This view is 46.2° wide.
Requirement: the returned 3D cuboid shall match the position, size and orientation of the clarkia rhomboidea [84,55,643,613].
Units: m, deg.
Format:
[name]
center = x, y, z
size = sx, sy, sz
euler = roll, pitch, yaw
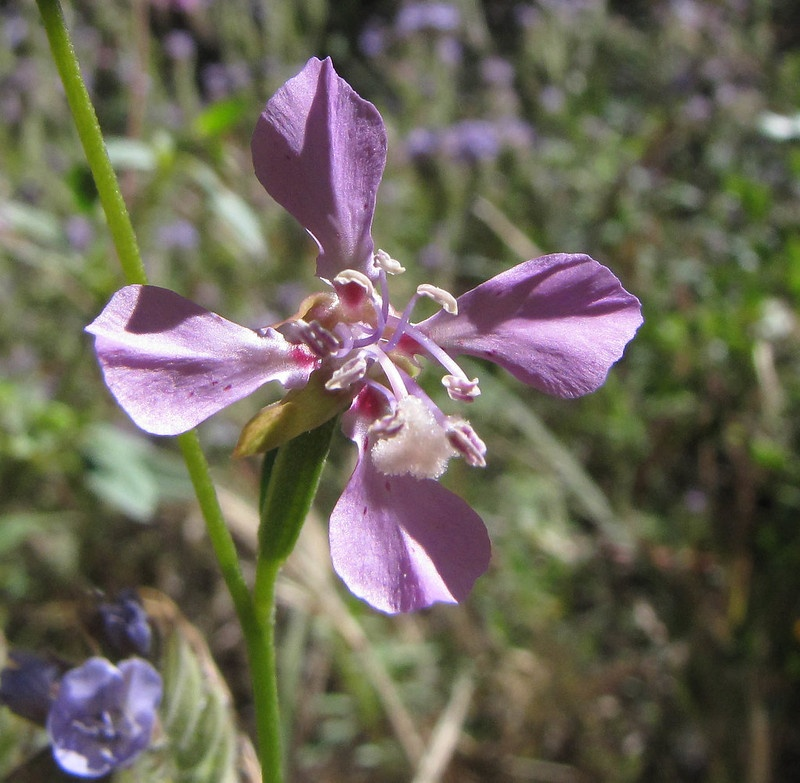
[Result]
[clarkia rhomboidea]
center = 0.015, -0.014, 0.918
size = 0.395, 0.466, 0.554
euler = -4, 8, -29
